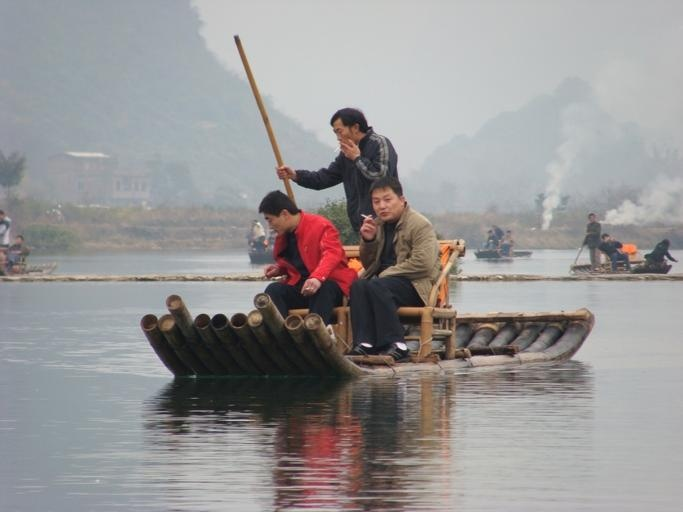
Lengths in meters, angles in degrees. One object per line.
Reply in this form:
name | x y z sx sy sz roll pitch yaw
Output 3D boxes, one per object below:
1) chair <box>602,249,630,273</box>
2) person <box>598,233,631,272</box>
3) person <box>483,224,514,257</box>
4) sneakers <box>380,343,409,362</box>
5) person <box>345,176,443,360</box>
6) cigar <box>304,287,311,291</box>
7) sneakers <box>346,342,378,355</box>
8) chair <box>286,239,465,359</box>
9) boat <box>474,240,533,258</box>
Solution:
chair | 9.445 0.215 52.152 0.768 0.951 0.824 0 -10 -4
person | 9.296 -0.069 52.118 0.921 1.392 1.920 7 8 33
person | 9.901 -0.632 97.123 1.165 1.382 3.693 -1 -6 12
sneakers | 0.688 1.320 20.413 0.269 0.274 0.604 5 7 21
person | 0.689 0.193 20.450 1.145 2.461 0.901 3 8 5
cigar | -0.474 0.462 20.037 0.059 0.061 0.025 2 14 -3
sneakers | 0.249 1.281 20.397 0.383 0.139 0.134 3 -7 -5
chair | 0.850 0.675 21.366 1.686 1.501 2.162 -3 -7 25
boat | 11.458 -0.426 107.324 2.087 0.636 4.704 -3 -3 19
